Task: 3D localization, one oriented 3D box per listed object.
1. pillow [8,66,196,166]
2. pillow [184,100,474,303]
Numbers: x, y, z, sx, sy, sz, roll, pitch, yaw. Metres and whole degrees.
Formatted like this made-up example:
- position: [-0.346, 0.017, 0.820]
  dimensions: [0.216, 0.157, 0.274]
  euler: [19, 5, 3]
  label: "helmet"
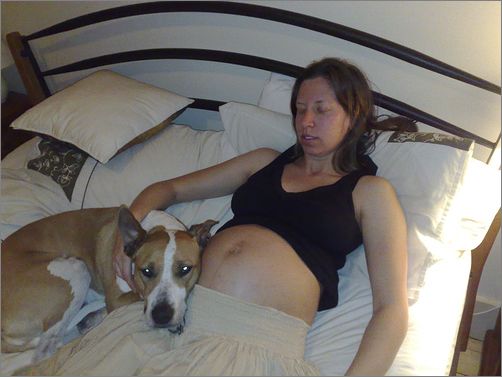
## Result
- position: [-1.159, -0.590, 3.496]
  dimensions: [0.849, 0.287, 0.889]
  euler: [27, 49, 26]
  label: "pillow"
- position: [0.647, -0.200, 2.978]
  dimensions: [1.381, 0.447, 1.356]
  euler: [22, 70, 17]
  label: "pillow"
